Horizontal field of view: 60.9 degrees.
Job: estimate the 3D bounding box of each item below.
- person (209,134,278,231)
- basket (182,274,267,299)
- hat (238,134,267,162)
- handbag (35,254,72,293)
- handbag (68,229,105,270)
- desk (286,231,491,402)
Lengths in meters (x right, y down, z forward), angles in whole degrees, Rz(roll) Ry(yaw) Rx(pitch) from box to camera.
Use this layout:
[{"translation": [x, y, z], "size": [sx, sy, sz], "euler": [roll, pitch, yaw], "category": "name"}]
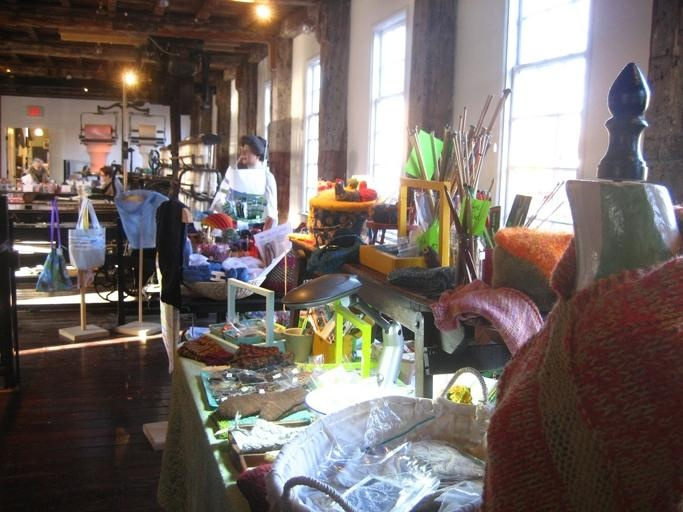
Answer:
[{"translation": [-0.835, -0.709, 5.447], "size": [0.362, 0.789, 0.796], "euler": [-5, 11, -37], "category": "person"}, {"translation": [-0.780, 0.217, 3.665], "size": [0.525, 0.150, 0.350], "euler": [2, 9, -1], "category": "basket"}, {"translation": [-0.818, -0.997, 5.402], "size": [0.220, 0.229, 0.361], "euler": [0, 9, -11], "category": "hat"}, {"translation": [-2.695, 0.162, 5.405], "size": [0.350, 0.441, 0.218], "euler": [2, 17, -23], "category": "handbag"}, {"translation": [-2.168, -0.081, 4.955], "size": [0.279, 0.424, 0.238], "euler": [0, 6, 12], "category": "handbag"}, {"translation": [0.192, 0.146, 1.481], "size": [0.278, 0.206, 0.398], "euler": [0, 12, -13], "category": "desk"}]
